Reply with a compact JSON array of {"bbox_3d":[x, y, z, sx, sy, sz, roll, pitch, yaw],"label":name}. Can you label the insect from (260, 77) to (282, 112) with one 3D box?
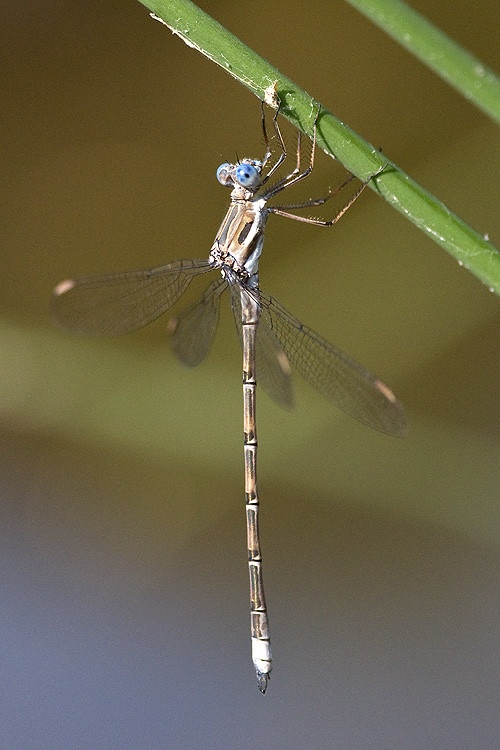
[{"bbox_3d":[0.062,-0.731,2.001,0.050,0.067,0.035,17,18,-4],"label":"insect"}]
